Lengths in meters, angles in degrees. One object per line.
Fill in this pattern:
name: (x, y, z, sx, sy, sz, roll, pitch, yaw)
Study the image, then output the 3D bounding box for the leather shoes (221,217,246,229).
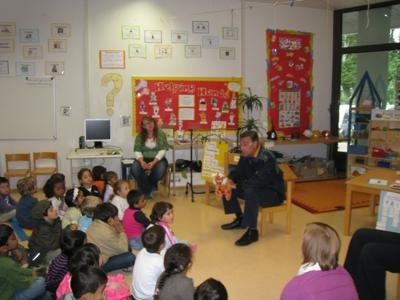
leather shoes: (0.467, 0.976, 4.511, 0.382, 0.174, 0.135, 1, 5, -9)

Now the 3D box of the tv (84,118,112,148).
tv: (-1.902, -0.329, 6.233, 0.468, 0.544, 0.164, -2, -14, -16)

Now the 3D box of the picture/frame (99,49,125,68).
picture/frame: (-1.689, -1.761, 6.321, 0.340, 0.257, 0.047, -1, 11, -6)

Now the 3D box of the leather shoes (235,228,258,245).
leather shoes: (0.587, 1.075, 4.244, 0.332, 0.249, 0.130, 0, 3, -23)

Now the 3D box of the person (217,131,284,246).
person: (0.702, 0.460, 4.388, 0.796, 1.328, 0.948, 2, 5, 6)

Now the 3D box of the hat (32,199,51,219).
hat: (-1.596, 0.601, 3.384, 0.223, 0.188, 0.116, 4, 13, 21)

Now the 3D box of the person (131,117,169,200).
person: (-0.859, 0.095, 5.918, 0.681, 1.405, 0.799, -3, 18, 15)
